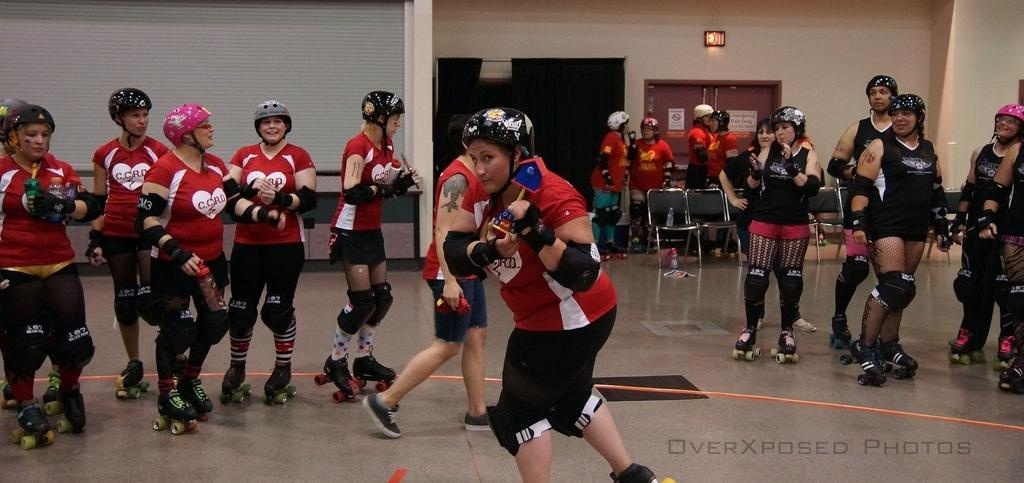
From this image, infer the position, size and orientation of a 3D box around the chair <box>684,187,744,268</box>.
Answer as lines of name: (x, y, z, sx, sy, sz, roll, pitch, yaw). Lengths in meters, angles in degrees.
chair: (3.902, -0.441, 15.132, 0.894, 1.318, 1.004, -2, 0, 8)

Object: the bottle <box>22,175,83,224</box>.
bottle: (-5.233, -0.487, 8.617, 0.437, 0.250, 0.558, 13, 43, -17)

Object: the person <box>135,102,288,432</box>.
person: (-3.727, 0.292, 8.917, 1.179, 3.764, 0.769, -2, 8, -25)

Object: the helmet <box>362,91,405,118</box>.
helmet: (-1.610, -1.697, 9.425, 0.456, 0.342, 0.324, -13, 13, -14)

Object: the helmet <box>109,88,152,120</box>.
helmet: (-4.707, -1.666, 9.192, 0.466, 0.401, 0.382, -7, 8, 16)

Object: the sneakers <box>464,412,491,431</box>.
sneakers: (-0.417, 2.088, 8.807, 0.478, 0.192, 0.191, 1, -1, -6)

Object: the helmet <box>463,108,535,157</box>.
helmet: (-0.163, -1.064, 7.478, 0.610, 0.419, 0.448, -13, 16, -18)

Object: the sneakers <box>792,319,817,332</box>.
sneakers: (4.243, 1.225, 11.116, 0.158, 0.120, 0.317, -2, 2, -31)

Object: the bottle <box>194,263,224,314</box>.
bottle: (-3.504, 0.517, 8.804, 0.201, 0.607, 0.386, 2, 8, 6)

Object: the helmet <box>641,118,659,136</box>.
helmet: (2.859, -2.431, 15.980, 0.347, 0.388, 0.437, -1, -4, 15)

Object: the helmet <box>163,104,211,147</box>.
helmet: (-3.805, -1.386, 8.945, 0.469, 0.461, 0.389, 1, 8, -4)
